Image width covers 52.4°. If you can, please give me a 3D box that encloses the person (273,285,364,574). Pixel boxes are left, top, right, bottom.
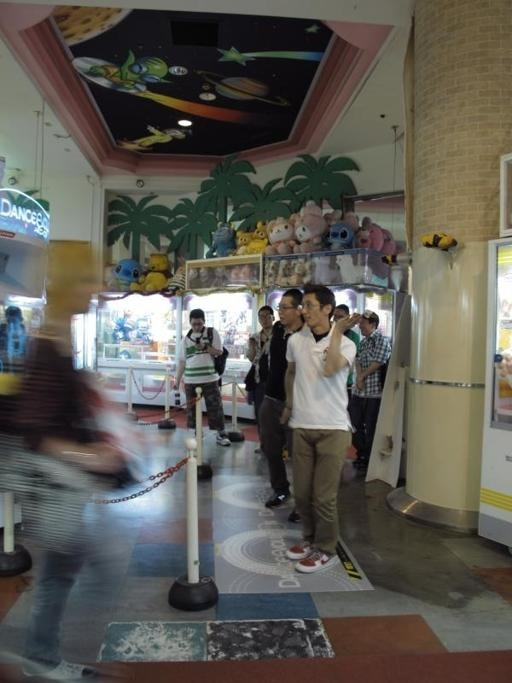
[{"bbox_3d":[0.391,0.495,3.149,0.363,1.679,0.367,2,-1,-4],"label":"person"}]

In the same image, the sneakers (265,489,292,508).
[{"bbox_3d":[0.184,1.283,4.235,0.085,0.090,0.244,-6,-11,38],"label":"sneakers"}]

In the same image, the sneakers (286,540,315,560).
[{"bbox_3d":[0.270,1.286,3.185,0.070,0.066,0.175,0,-12,33],"label":"sneakers"}]

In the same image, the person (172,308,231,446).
[{"bbox_3d":[-0.596,0.467,6.206,0.651,1.652,0.606,3,-2,-22],"label":"person"}]

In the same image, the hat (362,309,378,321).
[{"bbox_3d":[1.246,-0.279,5.620,0.168,0.085,0.125,22,11,-43],"label":"hat"}]

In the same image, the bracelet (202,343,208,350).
[{"bbox_3d":[-0.588,0.058,6.044,0.035,0.077,0.072,1,-1,-37],"label":"bracelet"}]

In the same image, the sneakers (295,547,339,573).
[{"bbox_3d":[0.367,1.285,3.074,0.179,0.093,0.309,1,-1,22],"label":"sneakers"}]
